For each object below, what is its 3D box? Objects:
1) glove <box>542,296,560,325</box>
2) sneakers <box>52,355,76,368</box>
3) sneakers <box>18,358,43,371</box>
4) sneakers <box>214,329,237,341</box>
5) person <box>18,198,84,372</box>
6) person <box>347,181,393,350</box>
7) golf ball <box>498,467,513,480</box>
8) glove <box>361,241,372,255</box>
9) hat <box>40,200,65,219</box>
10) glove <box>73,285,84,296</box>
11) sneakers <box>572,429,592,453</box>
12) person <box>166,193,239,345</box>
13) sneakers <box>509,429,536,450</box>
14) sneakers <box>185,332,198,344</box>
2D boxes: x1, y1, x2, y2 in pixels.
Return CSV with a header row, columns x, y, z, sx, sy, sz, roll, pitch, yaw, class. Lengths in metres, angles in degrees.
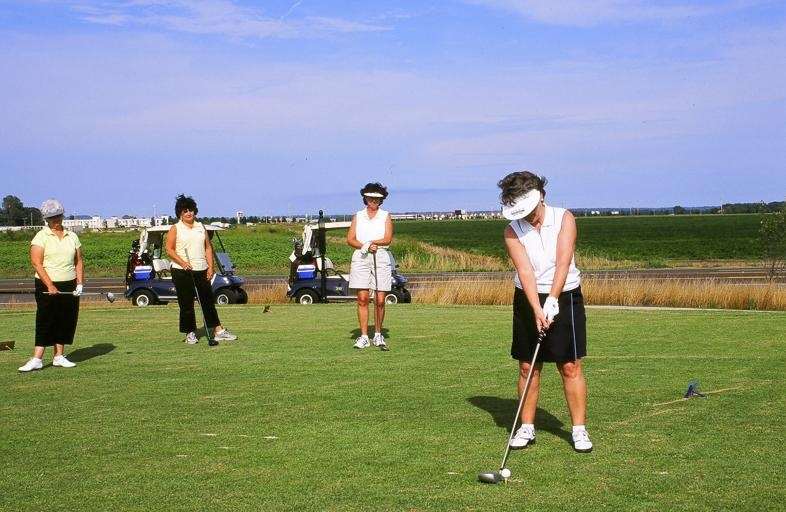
x,y,z,sx,sy,sz,roll,pitch,yaw,class
1.575,0.522,8.638,0.163,0.269,0.084,13,-3,30,glove
-4.364,1.382,11.526,0.341,0.126,0.142,3,6,19,sneakers
-4.757,1.389,11.316,0.340,0.154,0.140,1,4,-6,sneakers
-2.591,1.191,13.421,0.355,0.158,0.148,1,4,-1,sneakers
-4.430,0.366,11.245,0.775,2.286,0.801,-5,13,-20,person
-0.330,0.135,12.658,0.643,2.555,1.350,-1,12,-3,person
1.069,2.019,8.197,0.106,0.106,0.183,3,12,17,golf ball
-0.391,-0.139,12.429,0.051,0.159,0.123,22,-11,-11,glove
-4.362,-0.616,11.074,0.238,0.293,0.603,-6,13,-25,hat
-4.076,0.425,11.273,0.052,0.161,0.121,19,-32,-28,glove
1.906,1.812,8.691,0.201,0.197,0.236,1,12,9,sneakers
-2.988,0.206,13.132,0.788,2.192,0.498,-5,13,-19,person
1.315,1.839,8.787,0.136,0.141,0.346,-1,-3,29,sneakers
-3.047,1.217,13.102,0.200,0.147,0.131,-4,-1,18,sneakers
